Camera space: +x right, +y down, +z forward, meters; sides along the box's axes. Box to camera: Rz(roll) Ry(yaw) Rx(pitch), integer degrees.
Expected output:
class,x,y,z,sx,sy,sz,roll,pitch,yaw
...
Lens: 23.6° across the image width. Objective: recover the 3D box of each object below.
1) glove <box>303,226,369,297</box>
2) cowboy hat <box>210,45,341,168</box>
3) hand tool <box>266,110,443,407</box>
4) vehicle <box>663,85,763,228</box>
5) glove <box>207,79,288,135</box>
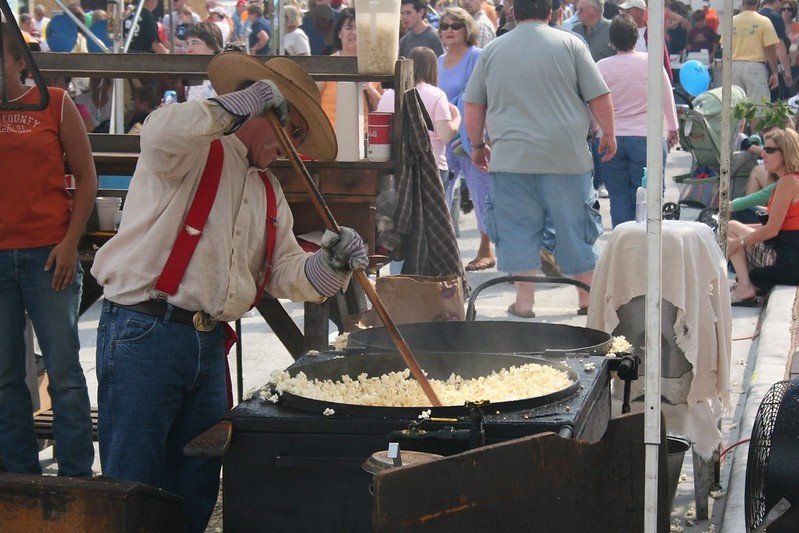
class,x,y,z,sx,sy,sz,roll,pitch,yaw
glove,-0.381,-0.033,11.359,0.321,0.429,0.212,49,21,11
cowboy hat,-0.738,-1.036,11.494,0.694,0.267,0.611,35,-22,21
hand tool,-0.272,-0.075,12.096,0.210,2.162,0.110,-34,-4,-13
vehicle,2.837,-0.967,17.141,1.053,1.256,0.690,-6,8,-32
glove,-0.877,-0.958,11.311,0.399,0.196,0.301,-16,-17,-20
